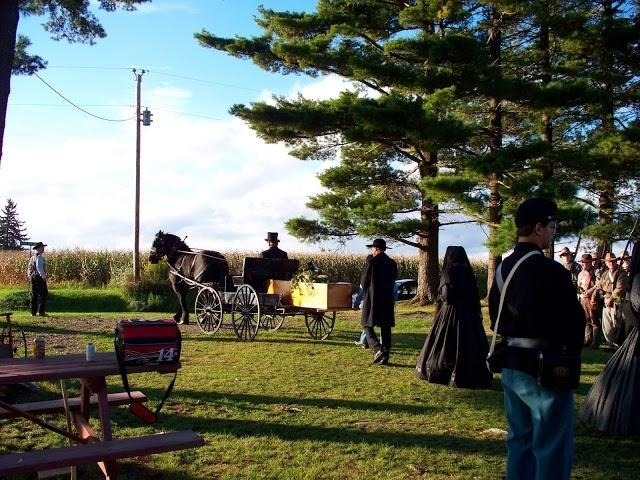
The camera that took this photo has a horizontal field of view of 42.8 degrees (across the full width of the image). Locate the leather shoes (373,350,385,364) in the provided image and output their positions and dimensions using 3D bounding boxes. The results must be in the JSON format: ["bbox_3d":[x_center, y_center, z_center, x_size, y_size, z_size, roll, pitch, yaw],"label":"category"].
[{"bbox_3d":[1.241,2.449,17.181,0.232,0.263,0.626,2,-6,3],"label":"leather shoes"}]

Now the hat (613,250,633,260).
[{"bbox_3d":[5.187,0.263,14.000,0.305,0.090,0.318,1,-9,6],"label":"hat"}]

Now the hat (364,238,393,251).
[{"bbox_3d":[1.195,0.158,17.422,0.422,0.155,0.354,15,-15,-33],"label":"hat"}]

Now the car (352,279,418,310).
[{"bbox_3d":[3.028,2.139,31.219,2.022,0.846,1.134,-3,3,-39],"label":"car"}]

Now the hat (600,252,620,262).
[{"bbox_3d":[6.951,0.400,19.745,0.372,0.148,0.429,-2,-9,28],"label":"hat"}]

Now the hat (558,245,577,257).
[{"bbox_3d":[4.895,0.251,16.215,0.272,0.108,0.280,1,-8,0],"label":"hat"}]

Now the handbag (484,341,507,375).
[{"bbox_3d":[2.361,1.574,10.903,0.115,0.401,0.262,15,-23,25],"label":"handbag"}]

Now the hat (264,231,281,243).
[{"bbox_3d":[-0.951,-0.059,16.300,0.273,0.143,0.277,3,10,6],"label":"hat"}]

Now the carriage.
[{"bbox_3d":[-2.394,1.206,20.915,5.659,2.194,1.822,7,4,42],"label":"carriage"}]

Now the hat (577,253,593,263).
[{"bbox_3d":[5.868,0.398,18.046,0.415,0.173,0.462,-5,-2,9],"label":"hat"}]

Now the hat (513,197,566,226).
[{"bbox_3d":[2.891,-0.392,10.925,0.485,0.297,0.353,-12,9,-11],"label":"hat"}]

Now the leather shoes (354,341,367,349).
[{"bbox_3d":[0.950,2.450,19.256,0.107,0.140,0.303,2,12,-45],"label":"leather shoes"}]

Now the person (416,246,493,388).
[{"bbox_3d":[2.525,1.447,15.090,1.349,2.736,0.770,2,10,10],"label":"person"}]

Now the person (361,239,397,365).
[{"bbox_3d":[1.224,1.283,17.335,0.724,2.785,1.509,1,9,5],"label":"person"}]

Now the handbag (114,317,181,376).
[{"bbox_3d":[-2.431,1.486,11.549,0.941,0.682,0.617,3,-6,-12],"label":"handbag"}]
